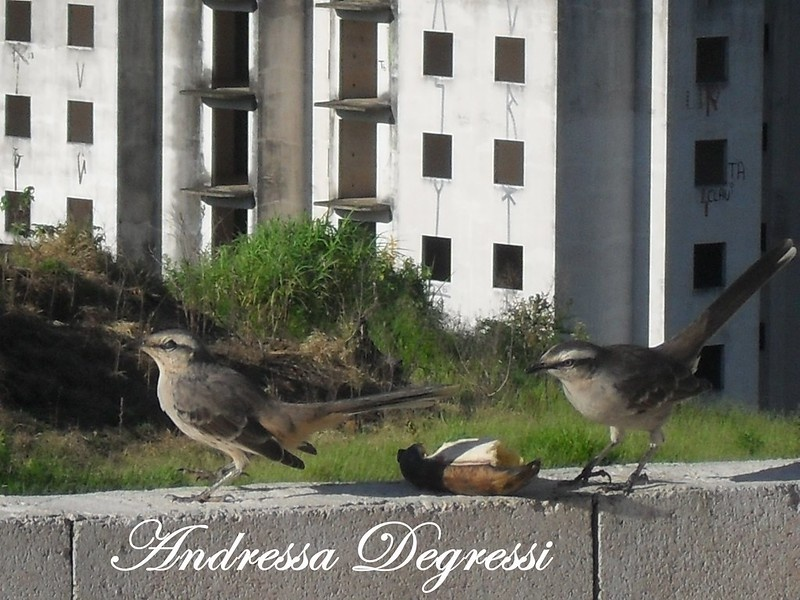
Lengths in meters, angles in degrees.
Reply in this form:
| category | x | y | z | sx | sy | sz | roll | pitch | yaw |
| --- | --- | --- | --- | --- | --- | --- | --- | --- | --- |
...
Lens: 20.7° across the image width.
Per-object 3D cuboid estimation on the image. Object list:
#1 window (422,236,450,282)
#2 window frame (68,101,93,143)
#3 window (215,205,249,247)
| category | x | y | z | sx | sy | sz | roll | pitch | yaw |
| --- | --- | --- | --- | --- | --- | --- | --- | --- | --- |
| window | 0.420 | -0.438 | 24.930 | 0.402 | 0.575 | 0.023 | 13 | 18 | 42 |
| window frame | -3.906 | -2.140 | 26.600 | 0.385 | 0.630 | 0.120 | 1 | 17 | -6 |
| window | -2.090 | -0.886 | 26.875 | 0.234 | 0.454 | 0.452 | 3 | 9 | 25 |
